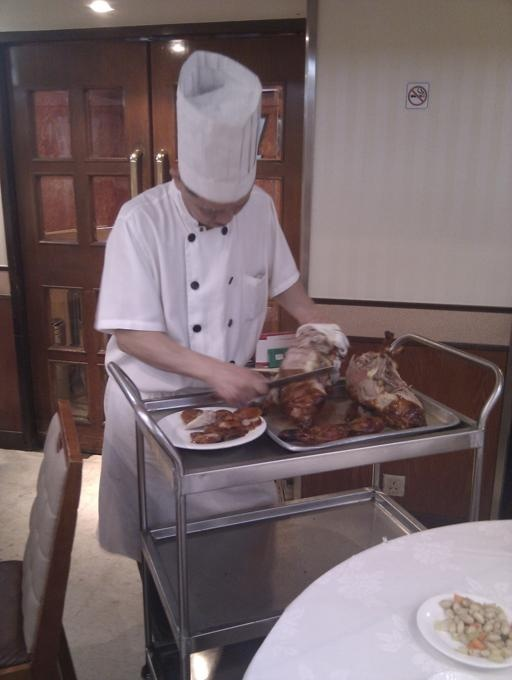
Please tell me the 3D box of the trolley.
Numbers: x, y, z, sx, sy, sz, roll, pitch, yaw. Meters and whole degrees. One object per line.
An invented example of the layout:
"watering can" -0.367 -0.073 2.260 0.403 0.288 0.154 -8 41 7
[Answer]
"trolley" 0.072 0.120 1.107 0.646 0.669 0.511 -8 23 -18

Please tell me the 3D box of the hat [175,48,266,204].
"hat" -0.085 -0.435 1.123 0.174 0.248 0.278 -5 53 -12

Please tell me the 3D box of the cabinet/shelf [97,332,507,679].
"cabinet/shelf" 0.096 0.324 1.210 0.641 0.662 0.516 -8 25 -18
